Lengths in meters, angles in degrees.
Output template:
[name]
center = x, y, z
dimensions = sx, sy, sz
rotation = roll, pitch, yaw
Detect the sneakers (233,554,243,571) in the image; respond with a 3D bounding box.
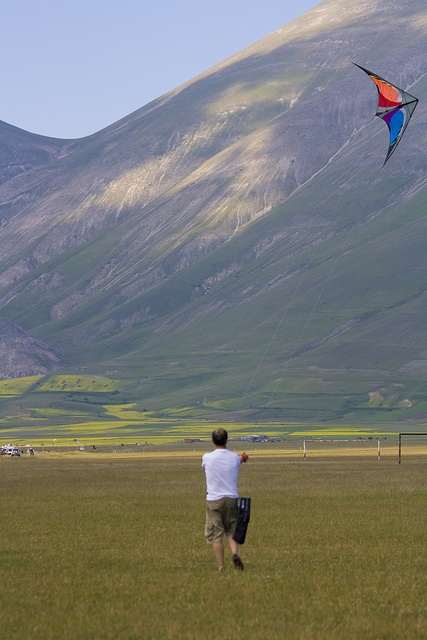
[sneakers]
center = 0.491, 5.282, 25.389
dimensions = 0.150, 0.431, 0.175
rotation = -15, 1, 13
